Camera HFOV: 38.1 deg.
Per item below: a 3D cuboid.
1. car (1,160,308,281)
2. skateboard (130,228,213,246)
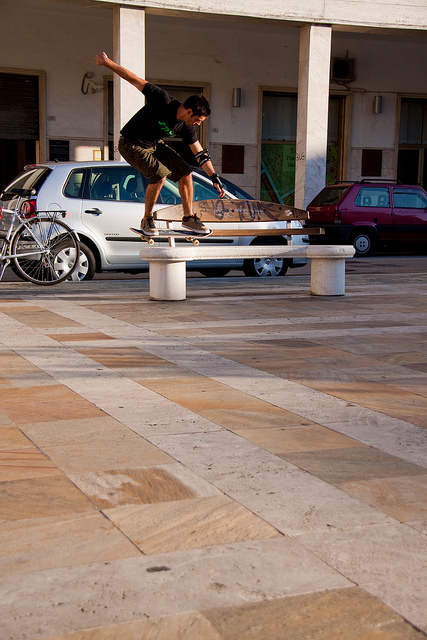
[{"bbox_3d":[-1.008,-1.782,10.684,4.338,1.691,2.443,-2,4,-19],"label":"car"},{"bbox_3d":[-0.514,-1.028,7.931,1.109,0.171,0.390,-3,29,-21],"label":"skateboard"}]
